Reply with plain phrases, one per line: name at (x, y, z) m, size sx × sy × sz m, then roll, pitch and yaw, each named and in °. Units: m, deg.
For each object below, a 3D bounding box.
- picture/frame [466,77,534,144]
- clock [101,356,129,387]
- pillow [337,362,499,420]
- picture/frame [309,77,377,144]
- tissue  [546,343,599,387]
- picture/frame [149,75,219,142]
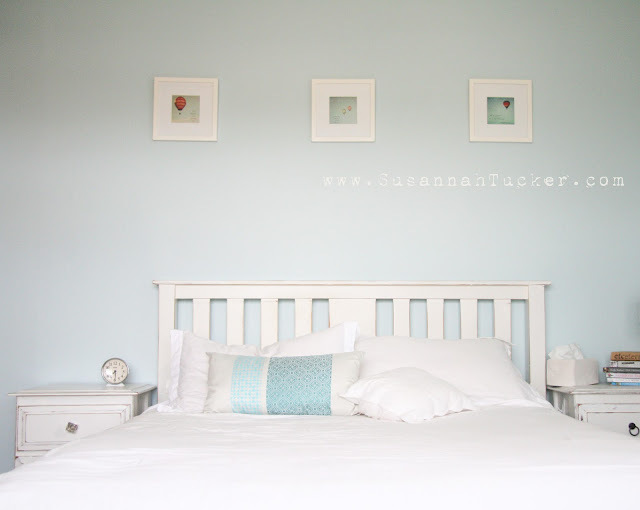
picture/frame at (0.972, -0.769, 3.428) m, size 0.322 × 0.337 × 0.014 m, roll 1°, pitch 2°, yaw -2°
clock at (-1.058, 0.604, 3.249) m, size 0.128 × 0.143 × 0.029 m, roll -1°, pitch -29°, yaw -10°
pillow at (0.385, 0.631, 2.856) m, size 0.535 × 0.178 × 0.584 m, roll -7°, pitch -5°, yaw 16°
picture/frame at (0.117, -0.773, 3.411) m, size 0.319 × 0.363 × 0.027 m, roll 0°, pitch 1°, yaw -2°
tissue  at (1.293, 0.553, 3.267) m, size 0.207 × 0.198 × 0.212 m, roll 3°, pitch -5°, yaw -27°
picture/frame at (-0.727, -0.777, 3.396) m, size 0.322 × 0.334 × 0.015 m, roll -1°, pitch 3°, yaw -1°
